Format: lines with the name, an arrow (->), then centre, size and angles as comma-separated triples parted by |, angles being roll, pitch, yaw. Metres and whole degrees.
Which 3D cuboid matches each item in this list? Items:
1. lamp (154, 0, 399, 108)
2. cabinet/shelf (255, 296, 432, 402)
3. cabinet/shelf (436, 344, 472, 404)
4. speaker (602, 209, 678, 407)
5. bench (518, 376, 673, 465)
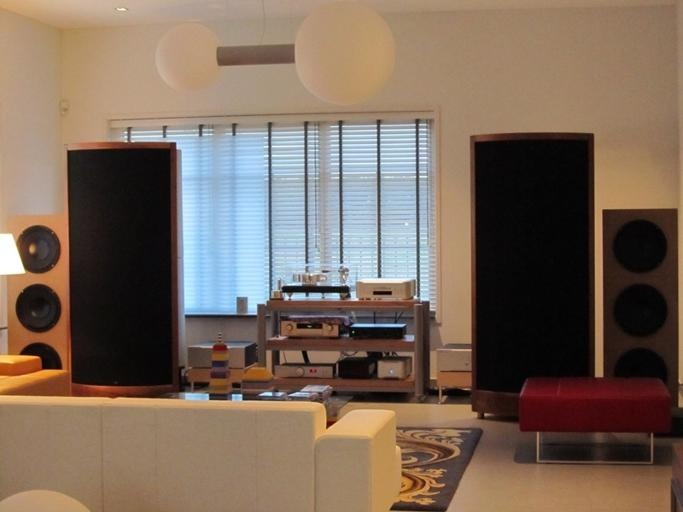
lamp -> -0.416, -0.915, 3.219 | 1.330, 0.505, 0.545 | -1, 4, 16
cabinet/shelf -> 0.022, 0.795, 5.988 | 1.403, 0.837, 0.563 | 0, 2, 3
cabinet/shelf -> 1.021, 1.030, 5.682 | 0.410, 0.452, 0.384 | -3, -12, 21
speaker -> 2.075, 0.283, 4.679 | 0.552, 1.228, 0.176 | 4, 7, 12
bench -> 1.543, 1.038, 4.184 | 0.856, 0.540, 0.561 | 4, 7, 16
